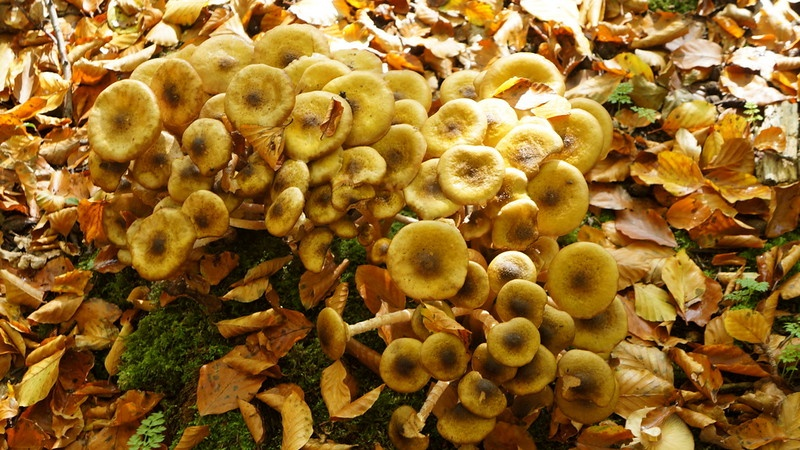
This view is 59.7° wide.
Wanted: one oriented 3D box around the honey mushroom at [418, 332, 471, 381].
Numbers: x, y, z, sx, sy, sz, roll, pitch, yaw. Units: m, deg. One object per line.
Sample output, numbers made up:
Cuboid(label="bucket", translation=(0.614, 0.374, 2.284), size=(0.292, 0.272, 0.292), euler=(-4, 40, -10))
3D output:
Cuboid(label="honey mushroom", translation=(0.467, 1.350, 7.186), size=(0.504, 0.274, 0.422), euler=(31, 55, 7))

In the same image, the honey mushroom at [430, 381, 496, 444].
Cuboid(label="honey mushroom", translation=(0.594, 2.053, 7.328), size=(0.452, 0.587, 0.612), euler=(-32, 70, -30))
